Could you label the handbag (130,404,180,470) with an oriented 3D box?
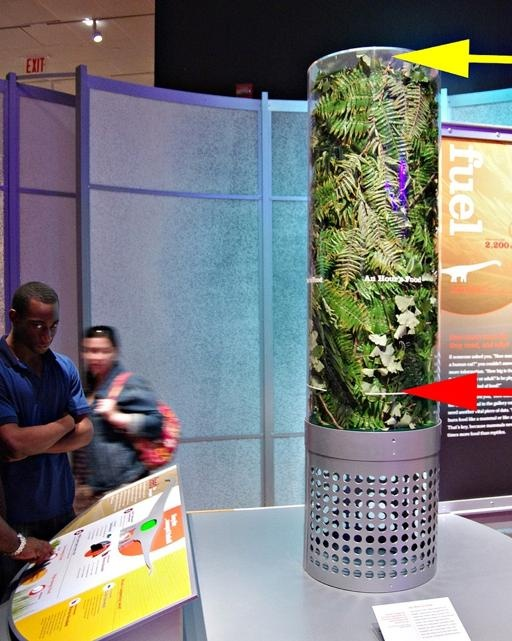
[{"bbox_3d":[-0.408,0.467,2.404,0.171,0.265,0.093,37,-44,-27],"label":"handbag"}]
